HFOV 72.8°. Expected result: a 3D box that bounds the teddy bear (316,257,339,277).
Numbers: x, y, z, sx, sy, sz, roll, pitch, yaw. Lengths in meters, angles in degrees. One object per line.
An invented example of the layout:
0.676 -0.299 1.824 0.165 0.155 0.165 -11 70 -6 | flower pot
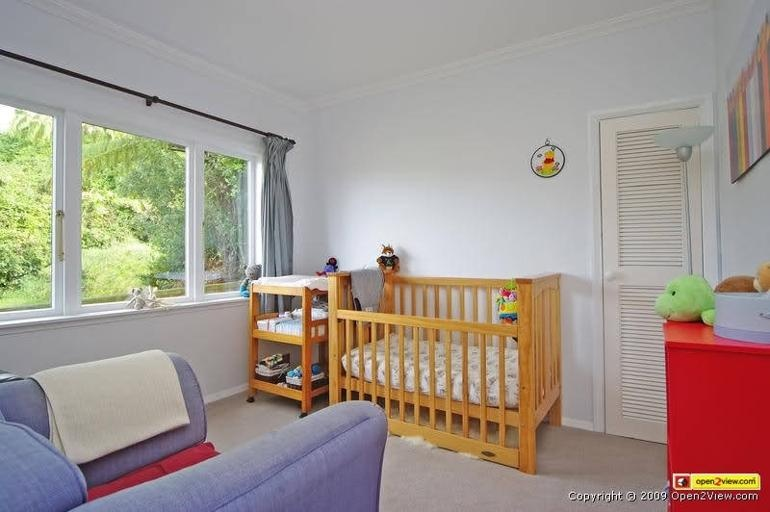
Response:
-0.529 0.099 4.857 0.156 0.088 0.213 -2 3 11 | teddy bear

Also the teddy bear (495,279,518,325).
0.894 0.323 3.732 0.184 0.296 0.069 -14 -27 37 | teddy bear

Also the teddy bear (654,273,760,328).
1.473 0.241 2.468 0.286 0.163 0.293 -7 -6 35 | teddy bear

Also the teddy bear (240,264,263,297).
-1.181 0.214 4.618 0.192 0.306 0.190 2 -1 -16 | teddy bear

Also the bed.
0.528 0.846 4.113 1.924 1.596 1.196 0 -1 30 | bed

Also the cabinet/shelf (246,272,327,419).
-0.728 0.690 4.482 0.757 1.093 0.767 5 5 41 | cabinet/shelf
